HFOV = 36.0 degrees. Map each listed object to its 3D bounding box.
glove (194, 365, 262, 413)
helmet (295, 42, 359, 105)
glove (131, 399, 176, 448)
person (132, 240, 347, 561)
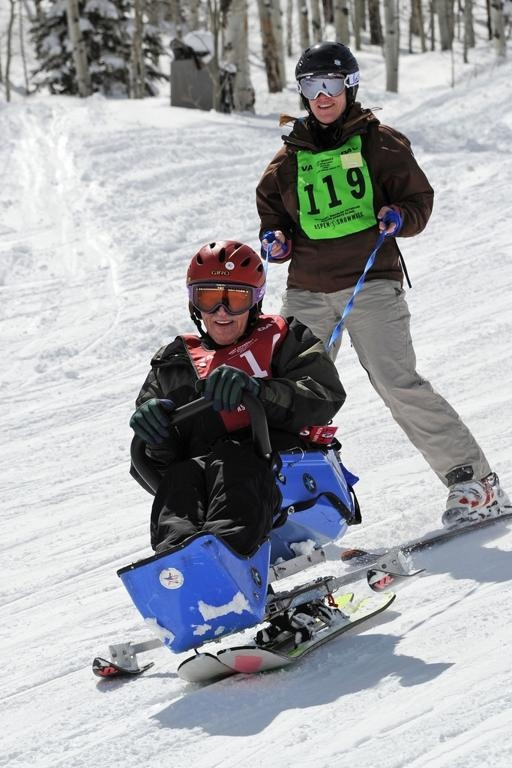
[{"bbox_3d":[-0.086,0.002,2.399,0.163,0.069,0.154,-9,26,-32],"label":"glove"},{"bbox_3d":[0.355,-1.446,3.705,0.271,0.279,0.324,-6,13,21],"label":"helmet"},{"bbox_3d":[-0.319,0.121,2.525,0.127,0.149,0.052,-24,2,15],"label":"glove"},{"bbox_3d":[-0.113,0.128,2.811,0.711,1.217,0.703,-20,-34,33],"label":"person"}]
